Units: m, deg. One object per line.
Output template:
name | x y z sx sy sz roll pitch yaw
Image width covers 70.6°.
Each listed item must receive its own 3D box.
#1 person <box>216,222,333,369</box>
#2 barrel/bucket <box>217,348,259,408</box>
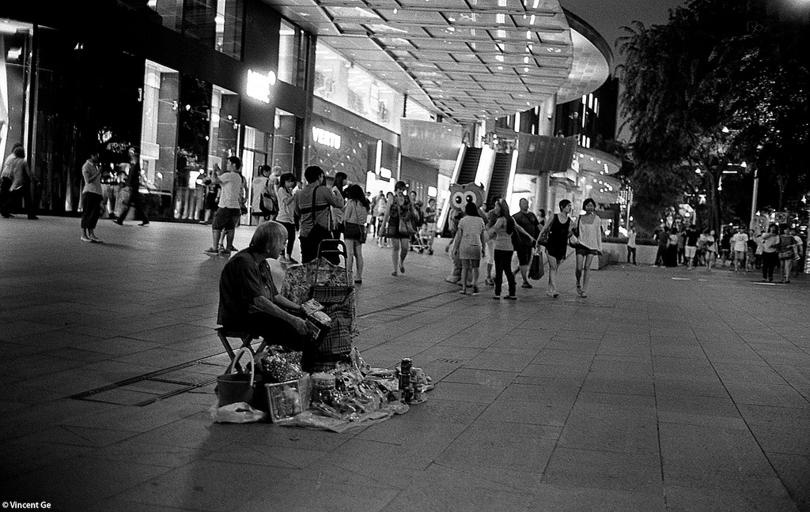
person | -1.311 0.387 5.543 1.028 1.451 0.435 2 3 -12
barrel/bucket | -1.520 1.112 5.116 0.328 0.536 0.333 2 0 0
